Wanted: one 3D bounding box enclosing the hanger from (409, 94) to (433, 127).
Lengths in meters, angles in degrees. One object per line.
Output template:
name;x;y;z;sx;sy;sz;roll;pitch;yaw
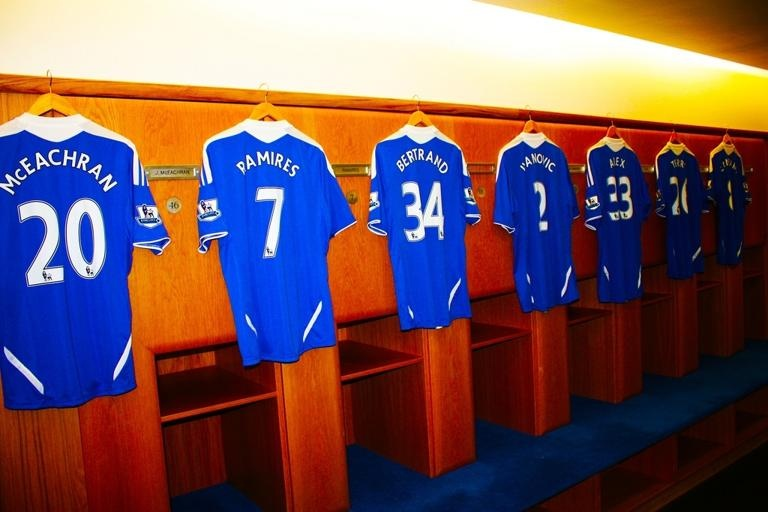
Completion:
hanger;0.223;-0.942;3.960;0.167;0.166;0.130;-9;16;-26

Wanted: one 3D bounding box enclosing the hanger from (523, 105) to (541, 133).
hanger;1.101;-1.015;4.482;0.119;0.177;0.324;2;15;16

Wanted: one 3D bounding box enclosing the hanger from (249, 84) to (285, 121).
hanger;-0.703;-0.909;3.562;0.009;0.216;0.241;-4;5;23

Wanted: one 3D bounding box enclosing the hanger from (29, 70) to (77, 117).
hanger;-1.765;-0.854;3.166;0.278;0.240;0.008;-3;2;0
